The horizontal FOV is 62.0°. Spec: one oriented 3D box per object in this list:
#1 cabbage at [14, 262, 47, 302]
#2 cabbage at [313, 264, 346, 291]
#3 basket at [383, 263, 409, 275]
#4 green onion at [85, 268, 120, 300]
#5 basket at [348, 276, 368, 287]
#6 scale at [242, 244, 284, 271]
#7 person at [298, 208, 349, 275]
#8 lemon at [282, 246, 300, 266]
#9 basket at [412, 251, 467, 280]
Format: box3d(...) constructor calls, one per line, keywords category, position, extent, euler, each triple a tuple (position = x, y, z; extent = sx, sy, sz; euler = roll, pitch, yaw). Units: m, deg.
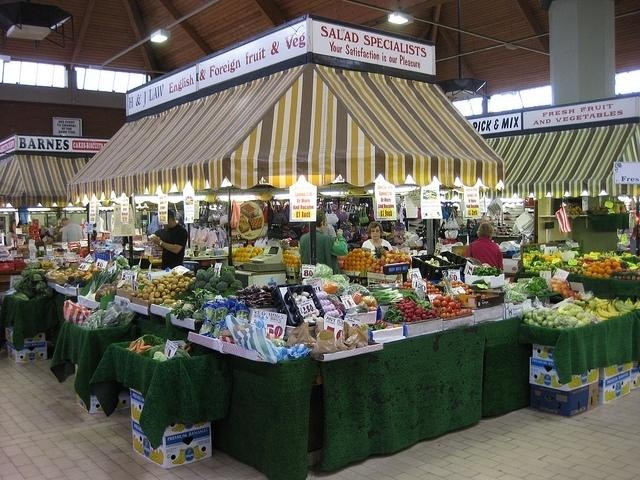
box3d(category="cabbage", position=(-4.124, 0.613, 7.613), extent=(0.427, 0.384, 0.501), euler=(-6, 9, -36))
box3d(category="cabbage", position=(0.112, 0.401, 5.671), extent=(0.202, 0.121, 0.277), euler=(5, 12, -18))
box3d(category="basket", position=(0.937, 0.360, 6.610), extent=(0.375, 0.142, 0.165), euler=(-4, 8, -16))
box3d(category="green onion", position=(-2.712, 0.496, 6.649), extent=(0.412, 0.175, 0.343), euler=(12, 35, 44))
box3d(category="basket", position=(0.502, 0.536, 7.144), extent=(0.223, 0.170, 0.131), euler=(4, 48, 18))
box3d(category="scale", position=(-0.850, 0.299, 8.084), extent=(0.592, 0.331, 0.422), euler=(-3, 7, -11))
box3d(category="person", position=(0.049, 0.077, 7.141), extent=(0.485, 0.964, 0.540), euler=(1, 7, -32))
box3d(category="lemon", position=(-0.429, 0.261, 7.977), extent=(0.205, 0.163, 0.279), euler=(1, 4, -8))
box3d(category="basket", position=(1.498, 0.327, 6.707), extent=(0.711, 0.240, 0.611), euler=(-7, 9, -34))
